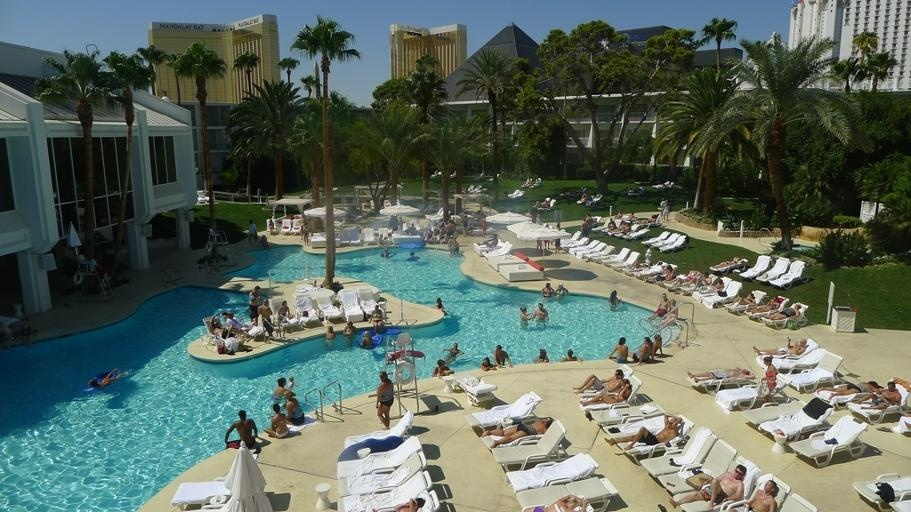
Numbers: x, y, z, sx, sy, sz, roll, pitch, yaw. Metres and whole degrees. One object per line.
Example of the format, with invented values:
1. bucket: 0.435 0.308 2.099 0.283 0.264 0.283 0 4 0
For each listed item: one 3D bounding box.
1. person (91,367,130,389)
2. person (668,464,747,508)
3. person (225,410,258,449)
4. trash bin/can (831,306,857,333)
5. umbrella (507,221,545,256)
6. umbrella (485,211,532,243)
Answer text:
1. person: -16.514 5.839 30.064 0.731 0.442 1.481 -21 3 21
2. person: 9.643 8.886 23.776 2.739 1.016 1.392 -18 23 2
3. person: -8.950 7.240 26.089 1.272 1.582 1.090 -6 2 -19
4. trash bin/can: 20.036 3.303 32.126 1.271 1.729 1.283 3 3 27
5. umbrella: 4.970 -0.826 42.072 2.223 1.977 2.815 -4 21 -6
6. umbrella: 3.949 -1.753 46.088 3.057 2.082 2.902 -15 22 -30
